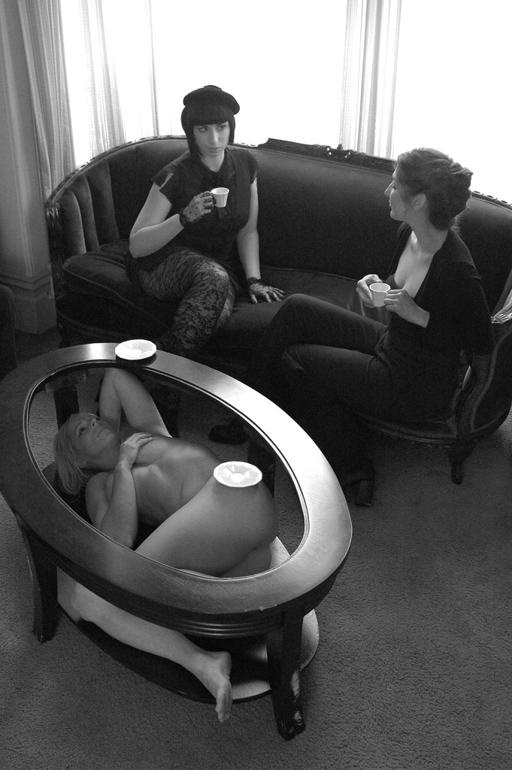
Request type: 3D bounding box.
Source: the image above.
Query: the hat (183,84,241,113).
[{"bbox_3d":[-0.176,-1.130,2.390,0.217,0.104,0.128,-6,33,-10],"label":"hat"}]

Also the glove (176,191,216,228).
[{"bbox_3d":[-0.224,-0.670,2.340,0.055,0.167,0.095,14,55,-41],"label":"glove"}]

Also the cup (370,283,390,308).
[{"bbox_3d":[0.375,-0.275,1.843,0.080,0.058,0.052,-1,38,9],"label":"cup"}]

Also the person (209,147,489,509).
[{"bbox_3d":[0.334,-0.184,2.078,0.900,1.304,0.540,7,51,3],"label":"person"}]
